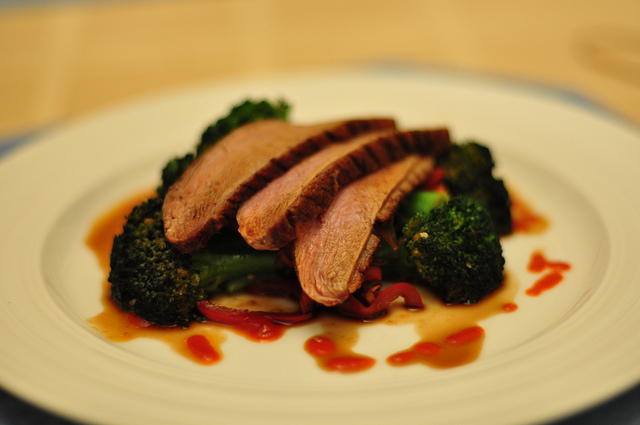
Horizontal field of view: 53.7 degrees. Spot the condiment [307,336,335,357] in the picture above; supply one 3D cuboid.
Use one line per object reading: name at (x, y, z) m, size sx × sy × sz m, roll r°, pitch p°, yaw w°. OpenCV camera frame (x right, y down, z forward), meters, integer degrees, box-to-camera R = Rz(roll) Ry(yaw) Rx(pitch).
condiment at (0.013, 0.955, 4.496) m, size 0.194 × 0.115 × 0.143 m, roll 21°, pitch 77°, yaw 4°
